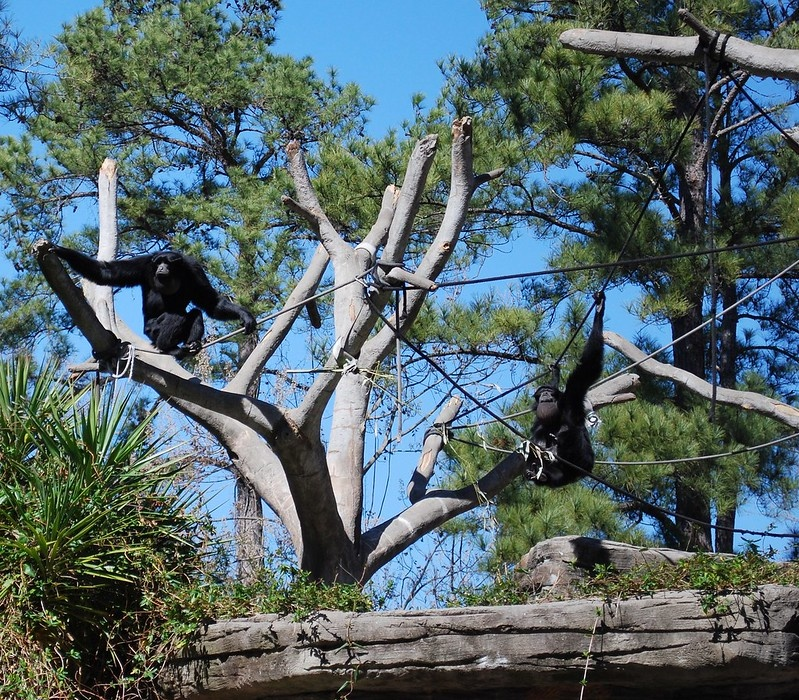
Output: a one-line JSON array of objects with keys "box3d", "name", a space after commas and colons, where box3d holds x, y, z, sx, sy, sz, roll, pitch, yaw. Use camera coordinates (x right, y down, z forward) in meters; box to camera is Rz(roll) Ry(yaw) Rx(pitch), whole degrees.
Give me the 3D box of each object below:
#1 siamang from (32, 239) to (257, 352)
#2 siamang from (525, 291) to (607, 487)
[{"box3d": [-2.612, -0.440, 25.163, 1.693, 1.069, 0.660, 2, -16, -18], "name": "siamang"}, {"box3d": [1.822, 0.595, 25.901, 0.667, 1.985, 1.128, 23, -45, -5], "name": "siamang"}]
